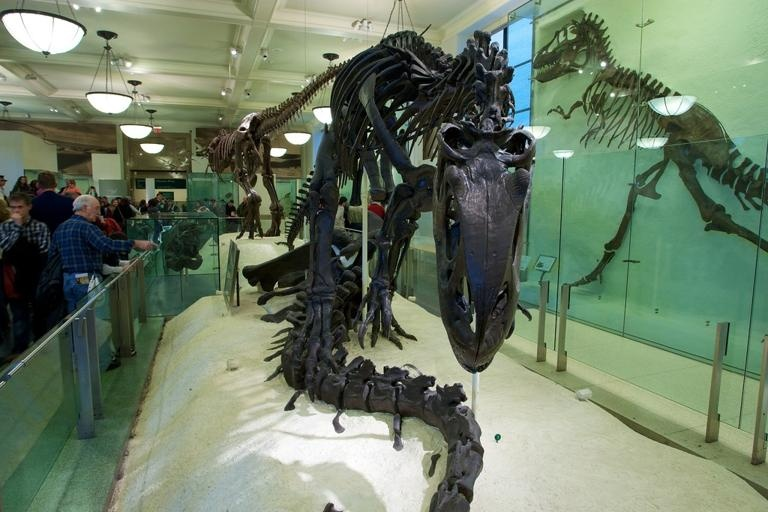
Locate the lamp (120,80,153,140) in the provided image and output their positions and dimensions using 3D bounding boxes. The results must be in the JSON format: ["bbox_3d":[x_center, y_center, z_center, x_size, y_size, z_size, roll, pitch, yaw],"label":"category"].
[{"bbox_3d":[-5.990,-3.563,12.213,0.691,1.174,0.735,19,18,42],"label":"lamp"}]

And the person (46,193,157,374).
[{"bbox_3d":[-3.082,0.267,5.557,0.605,1.854,0.784,3,7,23],"label":"person"}]

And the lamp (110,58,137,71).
[{"bbox_3d":[-5.623,-4.134,10.980,0.281,0.068,0.264,0,-5,20],"label":"lamp"}]

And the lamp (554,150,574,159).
[{"bbox_3d":[1.916,-1.094,5.455,0.176,0.112,0.297,1,6,8],"label":"lamp"}]

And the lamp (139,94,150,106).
[{"bbox_3d":[-6.391,-4.191,13.661,0.351,0.189,0.246,1,7,6],"label":"lamp"}]

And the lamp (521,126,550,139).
[{"bbox_3d":[1.744,-1.430,5.861,0.136,0.175,0.350,-1,7,-15],"label":"lamp"}]

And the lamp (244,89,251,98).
[{"bbox_3d":[-3.408,-4.071,12.758,0.192,0.089,0.264,2,9,-8],"label":"lamp"}]

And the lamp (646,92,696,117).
[{"bbox_3d":[2.753,-1.440,4.890,0.290,0.112,0.283,-14,16,-19],"label":"lamp"}]

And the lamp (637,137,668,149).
[{"bbox_3d":[2.523,-1.071,4.810,0.225,0.079,0.224,-1,6,10],"label":"lamp"}]

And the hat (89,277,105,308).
[{"bbox_3d":[-2.731,0.350,4.856,0.207,0.285,0.098,-2,-6,15],"label":"hat"}]

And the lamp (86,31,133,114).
[{"bbox_3d":[-5.091,-3.412,9.441,0.771,1.391,0.805,9,10,37],"label":"lamp"}]

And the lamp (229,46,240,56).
[{"bbox_3d":[-2.874,-3.981,9.879,0.145,0.134,0.371,-1,6,-12],"label":"lamp"}]
